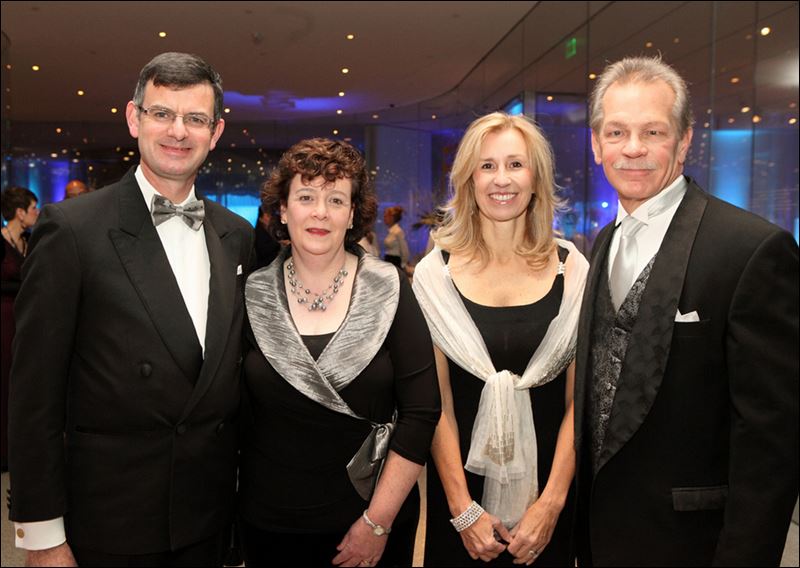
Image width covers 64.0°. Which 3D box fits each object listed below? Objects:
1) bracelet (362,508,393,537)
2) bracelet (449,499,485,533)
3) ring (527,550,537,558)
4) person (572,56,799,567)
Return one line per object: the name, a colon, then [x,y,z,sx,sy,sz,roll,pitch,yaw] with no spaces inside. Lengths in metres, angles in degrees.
bracelet: [-0.103,0.984,2.648,0.104,0.104,0.048,16,-20,-18]
bracelet: [0.299,1.043,2.860,0.141,0.061,0.118,-37,-2,-3]
ring: [0.590,1.203,2.846,0.036,0.036,0.012,14,10,-14]
person: [1.124,0.164,2.562,0.809,2.163,0.652,1,10,17]
